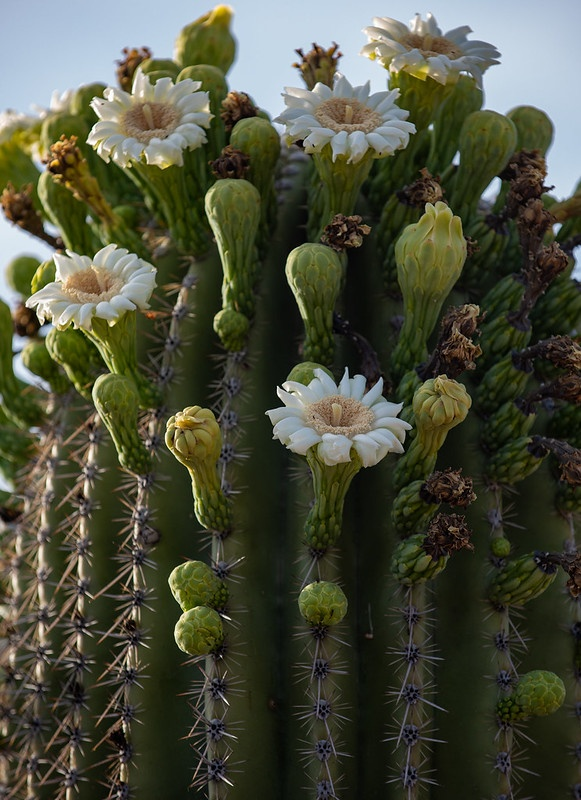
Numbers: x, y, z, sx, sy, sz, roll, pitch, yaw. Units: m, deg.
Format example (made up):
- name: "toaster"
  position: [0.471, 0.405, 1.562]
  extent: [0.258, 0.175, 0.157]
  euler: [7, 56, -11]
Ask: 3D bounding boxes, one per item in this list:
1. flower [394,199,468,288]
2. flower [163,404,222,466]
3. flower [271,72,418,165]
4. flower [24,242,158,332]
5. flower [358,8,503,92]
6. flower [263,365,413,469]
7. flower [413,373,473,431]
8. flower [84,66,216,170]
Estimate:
- name: "flower"
  position: [0.427, -0.404, 4.831]
  extent: [0.196, 0.275, 0.194]
  euler: [8, 14, -12]
- name: "flower"
  position: [-0.277, 0.110, 4.759]
  extent: [0.099, 0.140, 0.097]
  euler: [26, 53, 30]
- name: "flower"
  position: [0.148, -0.752, 4.885]
  extent: [0.296, 0.127, 0.296]
  euler: [10, 18, 24]
- name: "flower"
  position: [-0.547, -0.269, 4.876]
  extent: [0.368, 0.144, 0.353]
  euler: [-7, 6, 8]
- name: "flower"
  position: [0.393, -1.033, 5.141]
  extent: [0.462, 0.186, 0.437]
  euler: [-1, 5, 0]
- name: "flower"
  position: [0.131, 0.074, 4.579]
  extent: [0.381, 0.151, 0.388]
  euler: [16, 33, 20]
- name: "flower"
  position: [0.393, 0.008, 4.665]
  extent: [0.152, 0.159, 0.136]
  euler: [-8, -10, 34]
- name: "flower"
  position: [-0.417, -0.827, 4.959]
  extent: [0.368, 0.256, 0.225]
  euler: [-4, 22, -5]
